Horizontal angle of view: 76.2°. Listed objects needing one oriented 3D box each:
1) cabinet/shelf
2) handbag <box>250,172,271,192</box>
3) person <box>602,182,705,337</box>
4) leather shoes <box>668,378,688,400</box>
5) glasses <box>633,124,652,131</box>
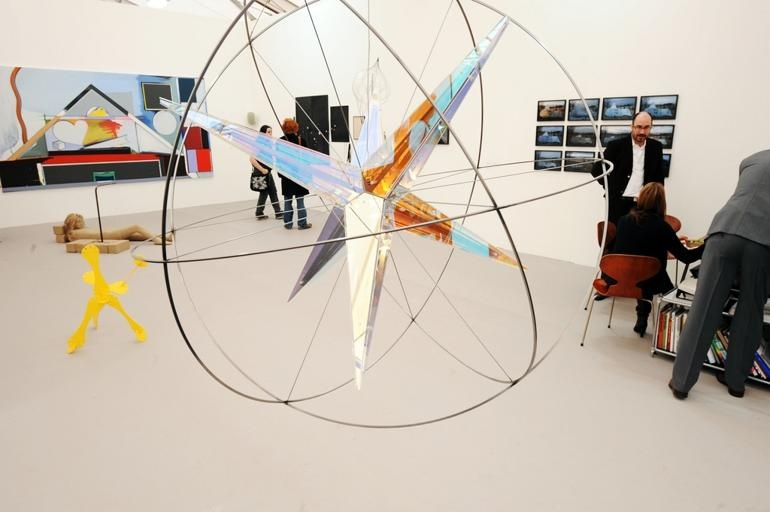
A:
[{"bbox_3d":[2.856,0.748,4.317,0.748,0.625,0.805,14,15,29],"label":"cabinet/shelf"},{"bbox_3d":[-2.088,-1.270,8.283,0.327,0.514,0.259,2,11,-1],"label":"handbag"},{"bbox_3d":[2.598,0.075,4.813,0.846,1.642,0.692,-19,28,-26],"label":"person"},{"bbox_3d":[2.417,1.114,4.104,0.070,0.143,0.194,-2,29,9],"label":"leather shoes"},{"bbox_3d":[2.722,-1.369,5.216,0.163,0.067,0.082,7,14,16],"label":"glasses"}]
